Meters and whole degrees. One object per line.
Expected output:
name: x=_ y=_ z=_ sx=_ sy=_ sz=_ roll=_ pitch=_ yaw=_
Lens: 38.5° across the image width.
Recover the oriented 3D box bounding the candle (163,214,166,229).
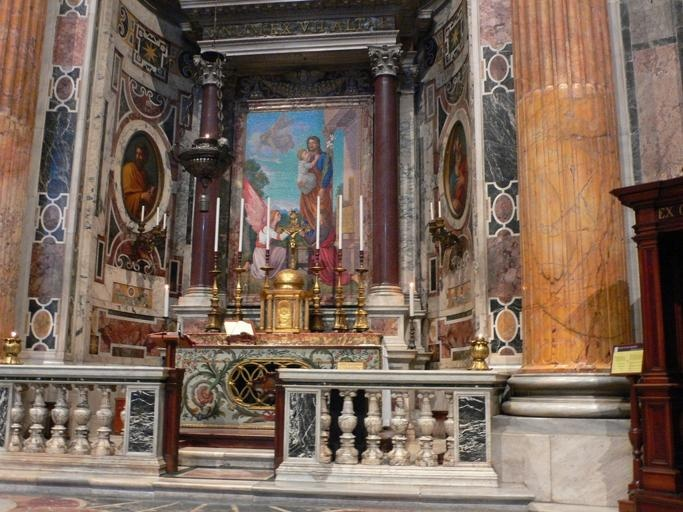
candle: x=-2.369 y=-0.469 z=13.117 sx=0.045 sy=0.223 sz=0.151 roll=1 pitch=-10 yaw=-9

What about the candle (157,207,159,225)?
candle: x=-2.473 y=-0.542 z=13.139 sx=0.043 sy=0.248 sz=0.090 roll=0 pitch=-10 yaw=0
